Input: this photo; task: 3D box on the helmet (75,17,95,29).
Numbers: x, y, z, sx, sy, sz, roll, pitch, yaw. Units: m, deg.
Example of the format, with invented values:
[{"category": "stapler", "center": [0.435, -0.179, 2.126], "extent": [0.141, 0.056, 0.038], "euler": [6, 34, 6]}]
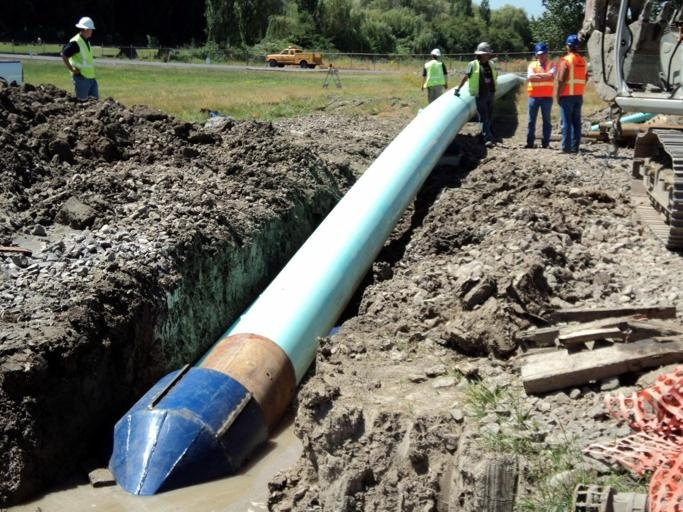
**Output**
[{"category": "helmet", "center": [-4.381, -3.961, 11.988], "extent": [0.243, 0.189, 0.360], "euler": [-9, 18, -24]}]

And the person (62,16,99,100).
[{"category": "person", "center": [-4.459, -3.363, 11.963], "extent": [0.436, 1.318, 0.855], "euler": [1, 16, 10]}]

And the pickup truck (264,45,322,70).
[{"category": "pickup truck", "center": [-2.551, -10.544, 37.394], "extent": [2.806, 1.047, 1.437], "euler": [-2, 16, -3]}]

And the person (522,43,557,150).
[{"category": "person", "center": [3.572, -2.855, 12.665], "extent": [0.495, 1.860, 1.422], "euler": [2, 17, 15]}]

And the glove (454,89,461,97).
[{"category": "glove", "center": [2.074, -2.956, 12.696], "extent": [0.101, 0.190, 0.185], "euler": [5, 9, 9]}]
